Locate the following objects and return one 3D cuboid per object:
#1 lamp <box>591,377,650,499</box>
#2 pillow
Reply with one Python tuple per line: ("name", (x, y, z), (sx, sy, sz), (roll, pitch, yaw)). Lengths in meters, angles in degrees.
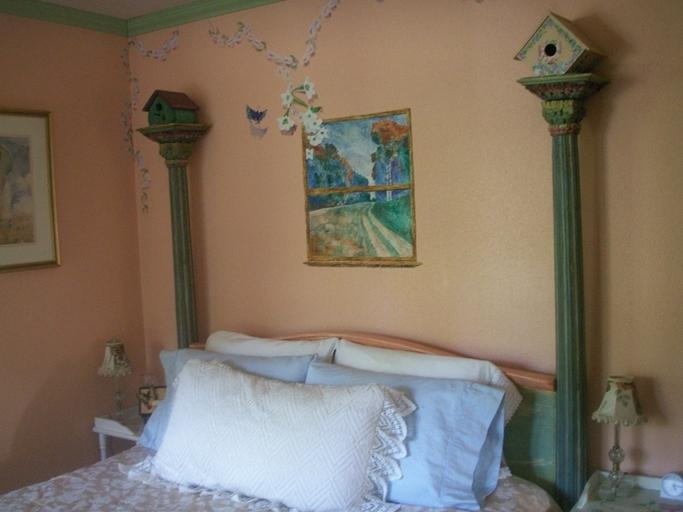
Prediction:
("lamp", (1.219, 0.781, 2.580), (0.202, 0.521, 0.206), (-1, 4, 24))
("pillow", (0.123, 0.750, 2.856), (1.340, 0.595, 0.594), (-1, 3, 32))
